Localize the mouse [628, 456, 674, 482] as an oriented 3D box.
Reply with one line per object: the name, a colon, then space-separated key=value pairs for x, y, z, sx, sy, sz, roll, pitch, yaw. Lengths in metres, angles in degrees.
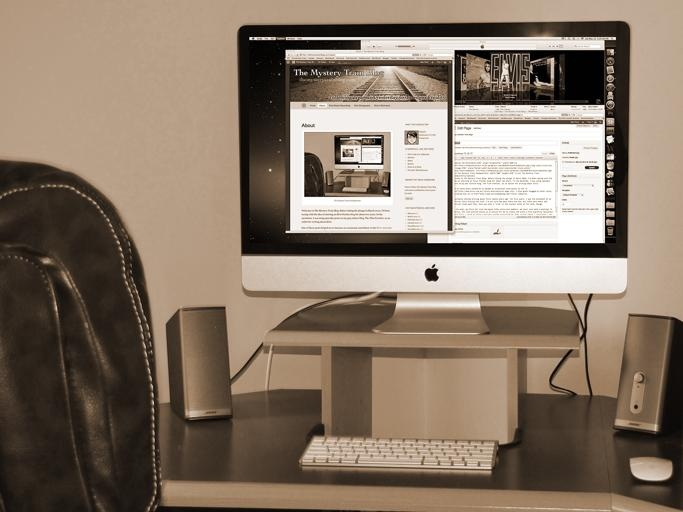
mouse: x=0.531 y=0.365 z=1.282 sx=0.049 sy=0.013 sz=0.041 roll=0 pitch=37 yaw=10
